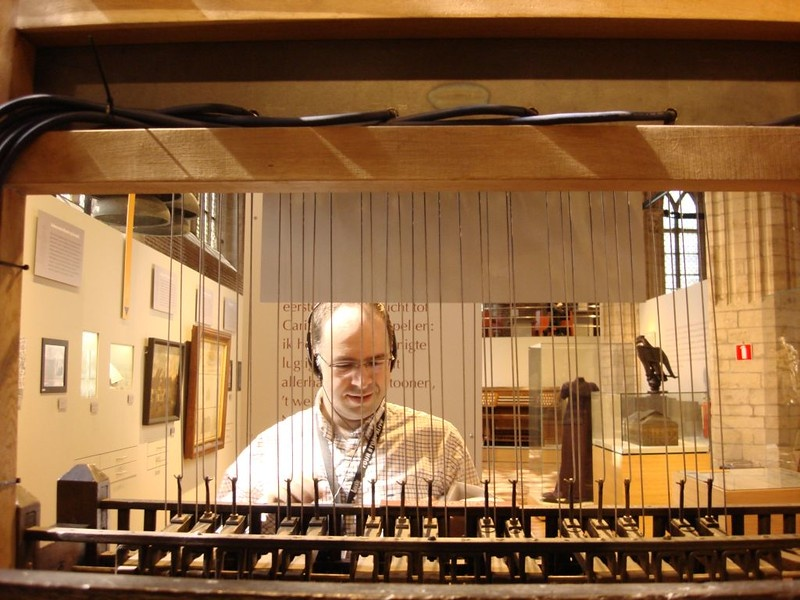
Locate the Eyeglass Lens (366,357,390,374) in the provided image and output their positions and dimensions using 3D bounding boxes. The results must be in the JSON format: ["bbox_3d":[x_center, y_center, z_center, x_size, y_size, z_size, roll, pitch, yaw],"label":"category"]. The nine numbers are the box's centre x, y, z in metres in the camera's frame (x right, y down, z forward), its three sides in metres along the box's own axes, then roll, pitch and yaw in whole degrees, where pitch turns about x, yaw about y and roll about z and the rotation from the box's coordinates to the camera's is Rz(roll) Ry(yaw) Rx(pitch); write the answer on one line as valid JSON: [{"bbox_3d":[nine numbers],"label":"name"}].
[{"bbox_3d":[-0.088,0.248,2.922,0.115,0.036,0.118,-1,2,5],"label":"Eyeglass Lens"}]

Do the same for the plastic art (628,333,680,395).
[{"bbox_3d":[1.641,0.404,4.972,0.293,0.372,0.192,6,-13,-40],"label":"plastic art"}]

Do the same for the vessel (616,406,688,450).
[{"bbox_3d":[1.777,0.886,5.274,0.252,0.256,0.490,-1,-10,18],"label":"vessel"}]
